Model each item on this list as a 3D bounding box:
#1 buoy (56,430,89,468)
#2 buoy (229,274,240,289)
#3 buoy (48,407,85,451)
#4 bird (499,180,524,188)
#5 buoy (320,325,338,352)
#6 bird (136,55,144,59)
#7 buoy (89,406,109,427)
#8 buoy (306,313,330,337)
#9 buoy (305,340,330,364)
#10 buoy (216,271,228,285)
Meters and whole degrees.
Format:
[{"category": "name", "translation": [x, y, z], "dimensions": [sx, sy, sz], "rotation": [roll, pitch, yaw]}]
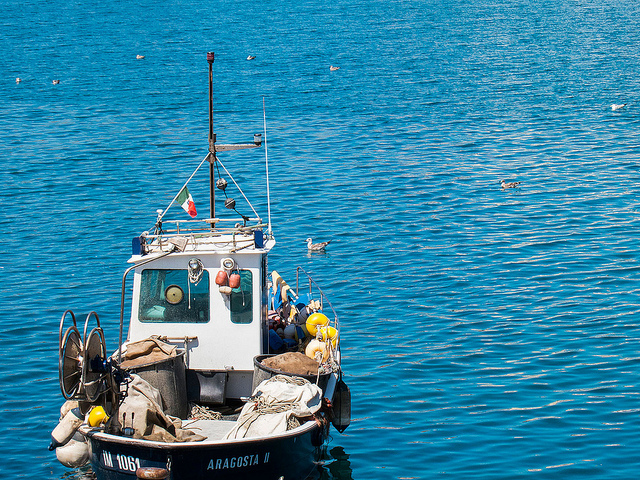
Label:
[{"category": "buoy", "translation": [-10.710, 8.882, 59.941], "dimensions": [1.568, 1.329, 1.681], "rotation": [-7, -10, 29]}, {"category": "buoy", "translation": [-3.665, 1.764, 60.409], "dimensions": [0.434, 0.555, 0.417], "rotation": [9, 33, 1]}, {"category": "buoy", "translation": [-10.667, 8.052, 59.280], "dimensions": [1.370, 2.326, 0.743], "rotation": [-2, 36, -16]}, {"category": "bird", "translation": [11.392, -3.325, 83.419], "dimensions": [1.082, 0.539, 0.357], "rotation": [-16, 8, -12]}, {"category": "buoy", "translation": [0.157, 4.387, 62.337], "dimensions": [1.006, 0.934, 1.017], "rotation": [-1, 13, 16]}, {"category": "bird", "translation": [-15.644, -15.977, 122.553], "dimensions": [0.644, 0.214, 0.582], "rotation": [4, 7, 4]}, {"category": "buoy", "translation": [-9.132, 7.329, 58.048], "dimensions": [0.610, 0.708, 0.834], "rotation": [3, 62, 2]}, {"category": "buoy", "translation": [-0.145, 3.728, 62.703], "dimensions": [1.146, 0.795, 0.853], "rotation": [-4, 6, -4]}, {"category": "buoy", "translation": [-0.104, 4.880, 61.300], "dimensions": [1.095, 0.915, 0.734], "rotation": [12, -5, 0]}, {"category": "buoy", "translation": [-4.194, 1.624, 60.420], "dimensions": [0.479, 0.507, 0.343], "rotation": [5, 33, -4]}]
